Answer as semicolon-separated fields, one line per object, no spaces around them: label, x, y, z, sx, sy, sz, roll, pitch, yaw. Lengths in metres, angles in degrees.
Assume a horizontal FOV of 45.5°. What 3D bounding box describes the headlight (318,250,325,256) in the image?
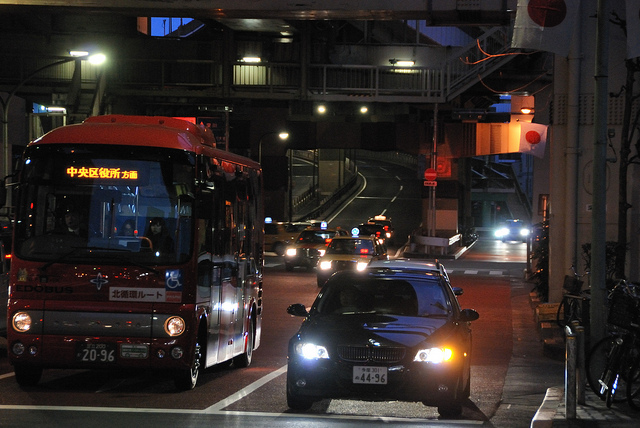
headlight;0.029;1.650;32.699;0.337;0.302;0.079;-1;-1;33

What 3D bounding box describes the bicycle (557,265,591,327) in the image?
bicycle;6.002;1.962;18.348;0.689;1.492;4.175;-2;-5;19

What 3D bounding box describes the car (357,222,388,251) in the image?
car;3.739;1.273;53.923;1.372;1.121;2.363;0;-9;7

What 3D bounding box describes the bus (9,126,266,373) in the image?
bus;-3.117;0.659;12.681;2.034;2.415;4.836;0;-2;13

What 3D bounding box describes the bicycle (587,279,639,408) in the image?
bicycle;4.501;1.961;11.762;0.795;1.868;1.009;-2;-5;19

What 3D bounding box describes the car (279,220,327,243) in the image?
car;-1.174;1.083;46.204;2.588;1.244;1.476;2;1;-2

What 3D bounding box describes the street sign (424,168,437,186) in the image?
street sign;6.619;-2.297;46.114;0.650;1.039;1.508;-1;-5;6

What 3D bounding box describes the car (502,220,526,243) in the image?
car;18.084;1.585;71.622;1.648;1.444;2.999;0;-6;7

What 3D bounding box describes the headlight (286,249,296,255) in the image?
headlight;-1.311;1.706;34.602;0.488;0.265;0.105;-5;-6;44

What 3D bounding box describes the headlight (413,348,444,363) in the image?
headlight;1.575;2.061;11.100;0.306;0.099;0.223;-3;0;-9
